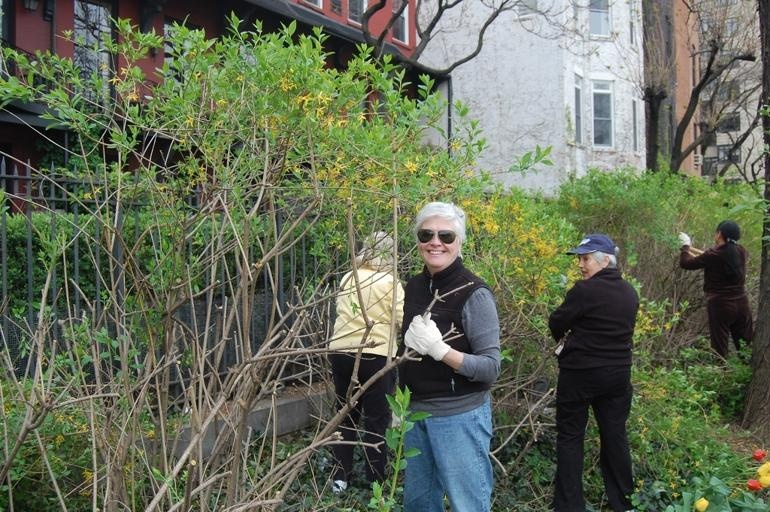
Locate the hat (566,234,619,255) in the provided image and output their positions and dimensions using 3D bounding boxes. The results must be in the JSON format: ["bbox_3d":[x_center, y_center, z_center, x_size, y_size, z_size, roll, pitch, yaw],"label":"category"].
[{"bbox_3d":[2.349,-0.107,8.006,0.386,0.198,0.264,-2,-1,5],"label":"hat"}]

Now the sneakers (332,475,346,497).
[{"bbox_3d":[-0.501,2.462,7.538,0.121,0.109,0.114,13,-1,-4],"label":"sneakers"}]

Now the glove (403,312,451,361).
[{"bbox_3d":[0.349,0.713,6.127,0.343,0.205,0.459,28,35,-21],"label":"glove"}]

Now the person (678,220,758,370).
[{"bbox_3d":[4.929,0.458,10.467,1.027,2.159,0.845,6,2,28],"label":"person"}]
